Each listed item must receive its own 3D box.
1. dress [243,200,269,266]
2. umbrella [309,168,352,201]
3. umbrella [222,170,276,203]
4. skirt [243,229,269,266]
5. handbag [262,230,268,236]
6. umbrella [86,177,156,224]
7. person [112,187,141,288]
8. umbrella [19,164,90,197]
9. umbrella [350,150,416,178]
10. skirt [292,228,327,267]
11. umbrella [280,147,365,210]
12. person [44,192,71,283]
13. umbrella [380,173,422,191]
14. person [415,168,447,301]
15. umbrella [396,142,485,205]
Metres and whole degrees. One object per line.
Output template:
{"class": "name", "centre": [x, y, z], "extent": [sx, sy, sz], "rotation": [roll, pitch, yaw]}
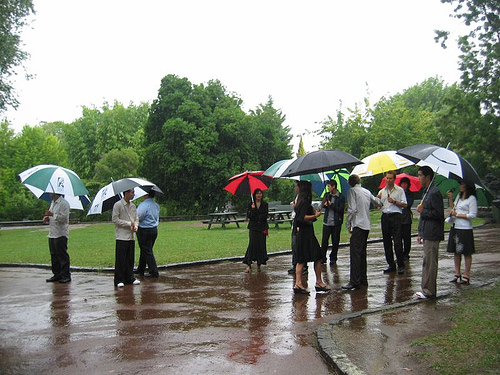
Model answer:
{"class": "dress", "centre": [0.172, 1.293, 12.033], "extent": [0.721, 1.314, 0.643], "rotation": [-2, -1, 3]}
{"class": "umbrella", "centre": [2.468, -0.319, 12.846], "extent": [1.094, 1.175, 1.149], "rotation": [5, -6, 17]}
{"class": "umbrella", "centre": [0.027, 0.024, 13.220], "extent": [1.443, 1.107, 1.540], "rotation": [-12, 20, 0]}
{"class": "skirt", "centre": [0.192, 1.562, 12.243], "extent": [0.669, 0.297, 1.545], "rotation": [3, 40, -4]}
{"class": "handbag", "centre": [0.450, 1.266, 11.958], "extent": [0.114, 0.129, 0.108], "rotation": [2, 6, 5]}
{"class": "umbrella", "centre": [-3.311, 0.316, 10.785], "extent": [1.221, 1.137, 1.503], "rotation": [-2, -1, 20]}
{"class": "person", "centre": [-3.182, 1.205, 10.782], "extent": [0.696, 2.436, 1.284], "rotation": [-1, -1, -17]}
{"class": "umbrella", "centre": [-4.984, -0.183, 10.873], "extent": [1.041, 0.427, 1.056], "rotation": [17, 0, 44]}
{"class": "umbrella", "centre": [3.554, -0.634, 11.774], "extent": [1.590, 0.734, 1.575], "rotation": [-14, 0, 40]}
{"class": "skirt", "centre": [1.238, 1.214, 8.845], "extent": [0.561, 0.608, 0.338], "rotation": [-2, -1, 19]}
{"class": "umbrella", "centre": [1.504, -0.387, 8.636], "extent": [1.605, 0.930, 1.585], "rotation": [-20, -12, 25]}
{"class": "person", "centre": [-5.146, 1.297, 11.260], "extent": [0.618, 2.358, 0.929], "rotation": [-1, -1, -27]}
{"class": "umbrella", "centre": [5.547, -0.224, 14.834], "extent": [1.021, 0.470, 1.060], "rotation": [-1, 2, -11]}
{"class": "person", "centre": [3.578, 0.857, 8.391], "extent": [0.534, 2.463, 1.026], "rotation": [-2, -1, 27]}
{"class": "umbrella", "centre": [4.038, -0.326, 8.804], "extent": [1.496, 1.195, 1.800], "rotation": [-2, -1, 30]}
